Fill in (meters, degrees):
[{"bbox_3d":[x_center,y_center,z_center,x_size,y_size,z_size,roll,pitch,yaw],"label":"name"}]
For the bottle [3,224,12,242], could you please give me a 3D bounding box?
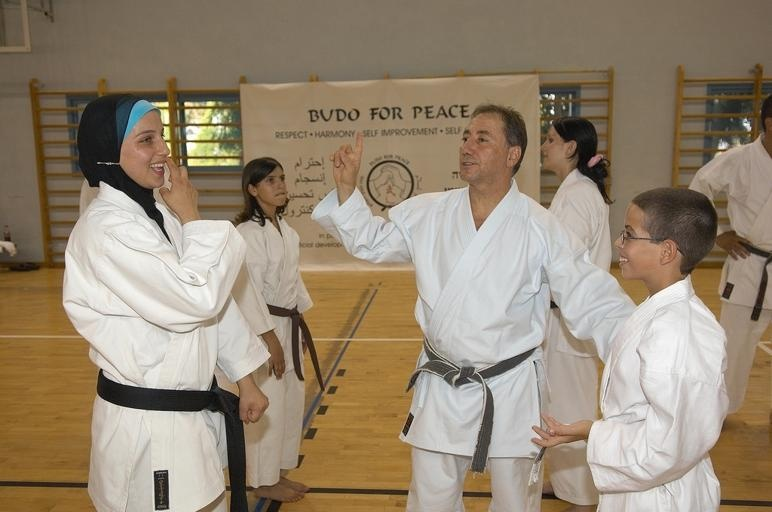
[{"bbox_3d":[-5.614,-0.346,10.281,0.115,0.206,0.219,-5,9,-32],"label":"bottle"}]
